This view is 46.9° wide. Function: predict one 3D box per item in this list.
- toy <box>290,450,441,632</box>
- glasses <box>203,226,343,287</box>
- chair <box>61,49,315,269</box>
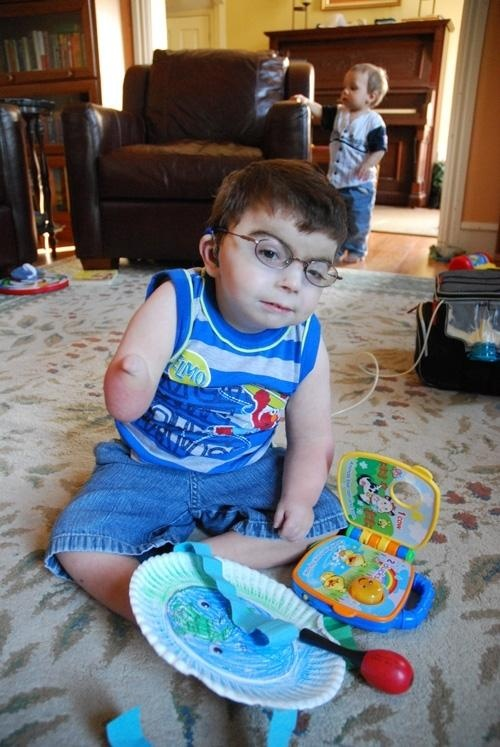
[{"bbox_3d":[0.128,0.179,0.621,0.156,0.147,0.140,17,28,31],"label":"toy"},{"bbox_3d":[0.012,-0.117,0.582,0.134,0.054,0.074,7,25,9],"label":"glasses"},{"bbox_3d":[-0.251,-0.900,2.583,0.918,1.028,1.042,3,25,4],"label":"chair"}]
